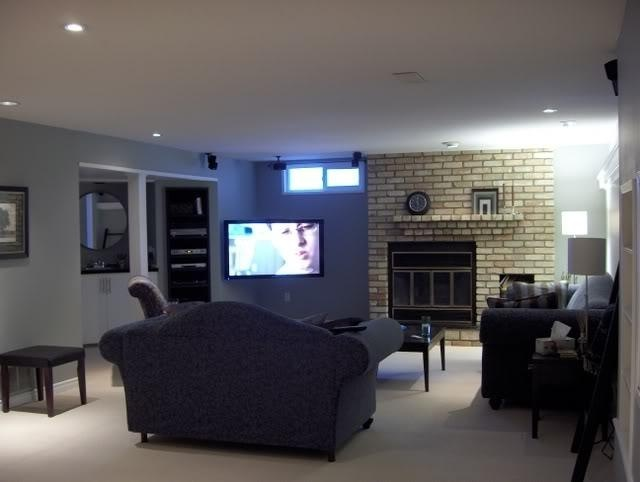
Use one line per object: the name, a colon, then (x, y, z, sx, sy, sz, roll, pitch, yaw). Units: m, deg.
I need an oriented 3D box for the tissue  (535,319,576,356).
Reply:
tissue : (1.917, 0.781, 4.233, 0.260, 0.237, 0.140, -4, 7, -5)

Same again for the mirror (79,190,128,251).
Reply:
mirror: (-3.352, -0.308, 7.993, 0.960, 1.057, 0.085, -1, 2, -3)

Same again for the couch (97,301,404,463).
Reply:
couch: (-0.524, 1.061, 4.365, 2.249, 1.113, 1.077, -2, -2, 20)

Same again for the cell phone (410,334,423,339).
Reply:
cell phone: (0.995, 1.007, 5.481, 0.150, 0.005, 0.319, -1, 2, 6)

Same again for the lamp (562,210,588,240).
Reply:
lamp: (3.213, -0.204, 6.774, 0.353, 0.388, 0.352, 3, 6, 19)

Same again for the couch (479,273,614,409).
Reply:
couch: (2.151, 0.926, 5.245, 0.928, 1.023, 1.589, -3, 4, 21)

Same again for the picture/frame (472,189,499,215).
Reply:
picture/frame: (2.370, -0.548, 7.464, 0.378, 0.407, 0.051, 1, 1, 11)

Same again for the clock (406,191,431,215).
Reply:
clock: (1.449, -0.554, 7.717, 0.355, 0.344, 0.090, -1, 3, 9)

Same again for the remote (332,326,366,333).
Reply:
remote: (0.222, 0.653, 3.805, 0.274, 0.044, 0.081, -2, 2, -18)
